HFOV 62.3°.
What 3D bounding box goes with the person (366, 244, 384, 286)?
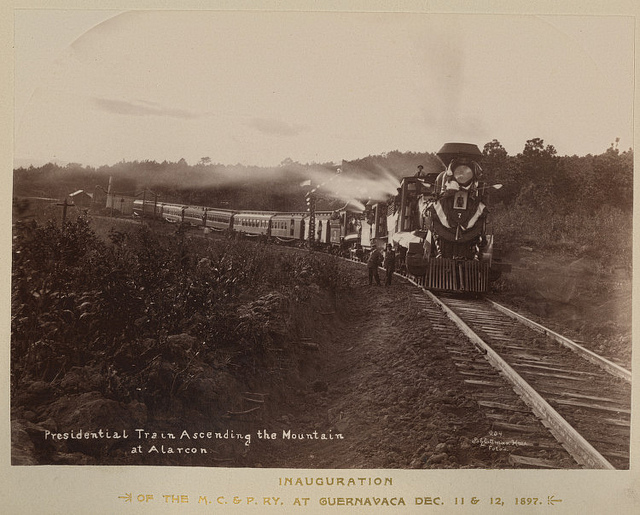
[{"bbox_3d":[1.243,0.190,12.304,0.294,0.986,0.679,1,2,10],"label":"person"}]
